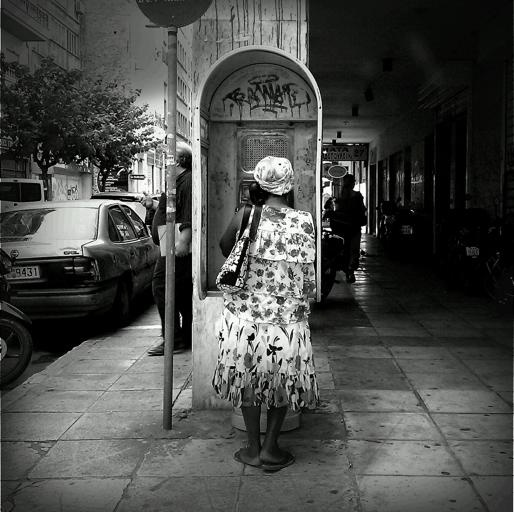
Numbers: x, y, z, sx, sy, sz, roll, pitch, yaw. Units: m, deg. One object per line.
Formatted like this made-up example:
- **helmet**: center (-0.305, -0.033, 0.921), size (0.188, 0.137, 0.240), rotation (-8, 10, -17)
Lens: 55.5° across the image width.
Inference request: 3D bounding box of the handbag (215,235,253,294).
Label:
- **handbag**: center (-0.105, 0.039, 2.271), size (0.164, 0.273, 0.119), rotation (-1, 2, 7)

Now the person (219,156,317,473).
- **person**: center (0.051, 0.283, 2.394), size (0.532, 1.542, 0.306), rotation (-1, 2, -7)

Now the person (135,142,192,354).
- **person**: center (-0.883, -0.041, 4.893), size (0.497, 2.090, 1.454), rotation (-1, 2, -13)

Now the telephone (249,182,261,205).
- **telephone**: center (-0.010, -0.310, 2.420), size (0.033, 0.094, 0.063), rotation (-1, -1, -39)

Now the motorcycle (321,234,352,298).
- **motorcycle**: center (1.244, 0.097, 8.271), size (0.329, 1.056, 1.069), rotation (0, 2, 21)
